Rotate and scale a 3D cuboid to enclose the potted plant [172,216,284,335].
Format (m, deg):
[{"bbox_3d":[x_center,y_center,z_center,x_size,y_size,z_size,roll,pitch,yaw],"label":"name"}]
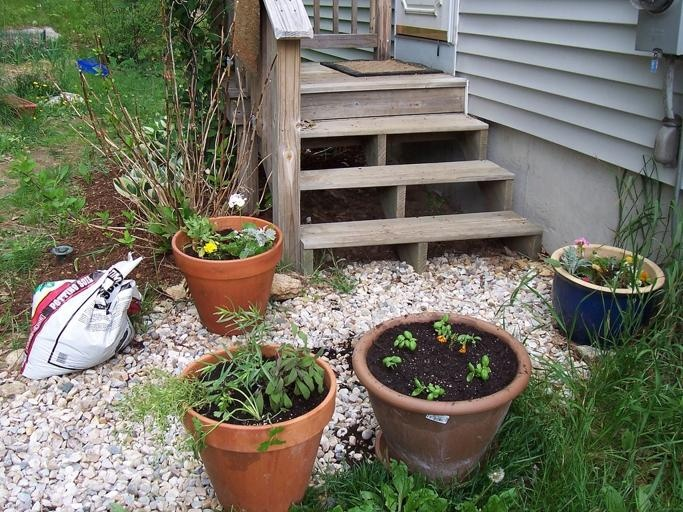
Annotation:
[{"bbox_3d":[-0.608,0.202,2.847,0.612,0.541,0.651,2,31,-2],"label":"potted plant"}]

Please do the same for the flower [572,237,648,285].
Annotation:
[{"bbox_3d":[1.399,0.061,2.559,0.245,0.106,0.265,-2,18,-13],"label":"flower"}]

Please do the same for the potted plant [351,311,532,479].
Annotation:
[{"bbox_3d":[0.352,0.484,1.907,0.580,0.385,0.590,20,36,37],"label":"potted plant"}]
